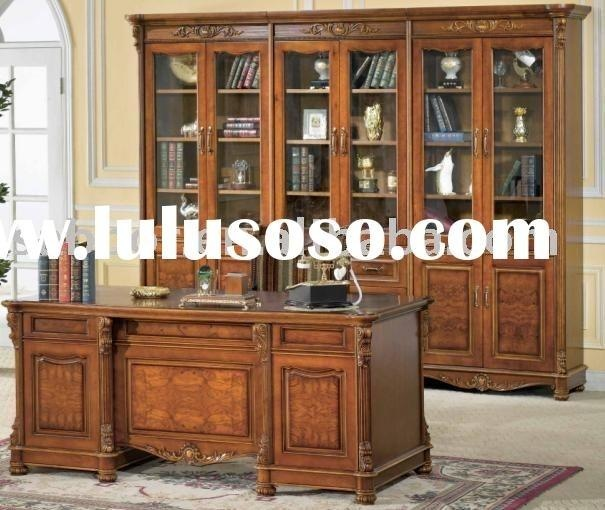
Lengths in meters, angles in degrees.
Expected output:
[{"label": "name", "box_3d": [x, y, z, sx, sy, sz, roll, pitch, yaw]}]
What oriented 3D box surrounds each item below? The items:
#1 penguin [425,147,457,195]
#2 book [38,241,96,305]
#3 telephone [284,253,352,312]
[{"label": "penguin", "box_3d": [1.017, -0.592, 5.280, 0.166, 0.301, 0.396, 0, 3, 24]}, {"label": "book", "box_3d": [-1.217, 0.068, 3.733, 0.310, 0.330, 0.389, 1, 0, -22]}, {"label": "telephone", "box_3d": [0.093, 0.115, 3.416, 0.320, 0.237, 0.330, 7, 6, 43]}]
